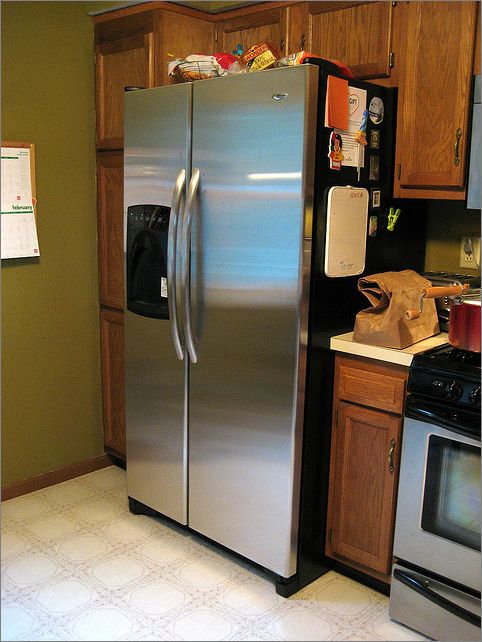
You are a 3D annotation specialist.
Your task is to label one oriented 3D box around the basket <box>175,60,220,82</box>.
[{"bbox_3d":[-0.161,-0.911,1.963,0.113,0.051,0.148,-20,31,-37],"label":"basket"}]
